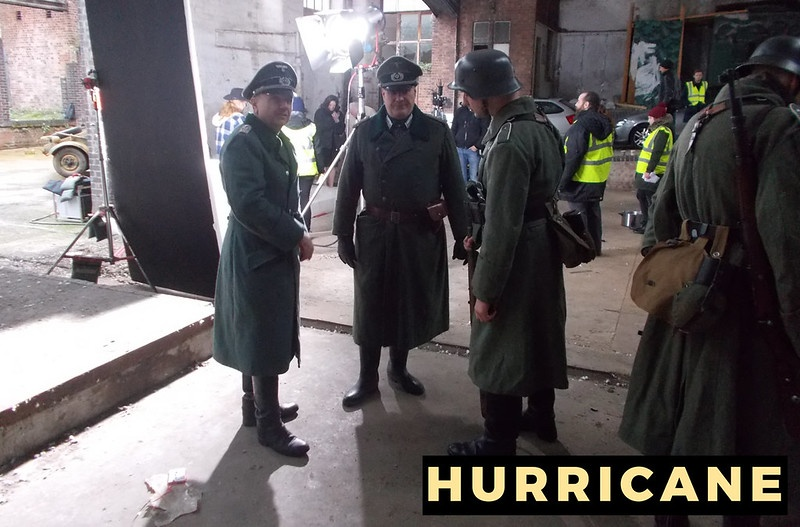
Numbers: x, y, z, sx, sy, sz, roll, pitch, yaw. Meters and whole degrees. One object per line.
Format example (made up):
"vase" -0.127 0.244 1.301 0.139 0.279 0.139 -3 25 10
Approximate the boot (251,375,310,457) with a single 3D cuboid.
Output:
"boot" -0.720 0.910 3.486 0.387 0.508 0.162 10 16 29

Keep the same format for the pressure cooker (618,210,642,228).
"pressure cooker" 3.397 -0.642 8.366 0.293 0.188 0.224 2 8 36

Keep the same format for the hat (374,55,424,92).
"hat" -0.004 -1.221 3.691 0.216 0.105 0.250 -1 -3 1

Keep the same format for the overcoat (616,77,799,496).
"overcoat" 1.522 0.048 2.638 0.751 1.736 0.752 7 20 22

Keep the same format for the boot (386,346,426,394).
"boot" 0.051 0.764 4.092 0.350 0.313 0.145 27 38 35

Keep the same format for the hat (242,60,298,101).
"hat" -0.726 -1.070 3.292 0.222 0.097 0.251 -6 1 -33

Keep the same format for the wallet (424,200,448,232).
"wallet" 0.239 -0.327 3.818 0.101 0.180 0.195 3 13 33

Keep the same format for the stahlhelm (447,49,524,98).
"stahlhelm" 0.492 -1.119 3.268 0.387 0.238 0.476 -30 35 -29
